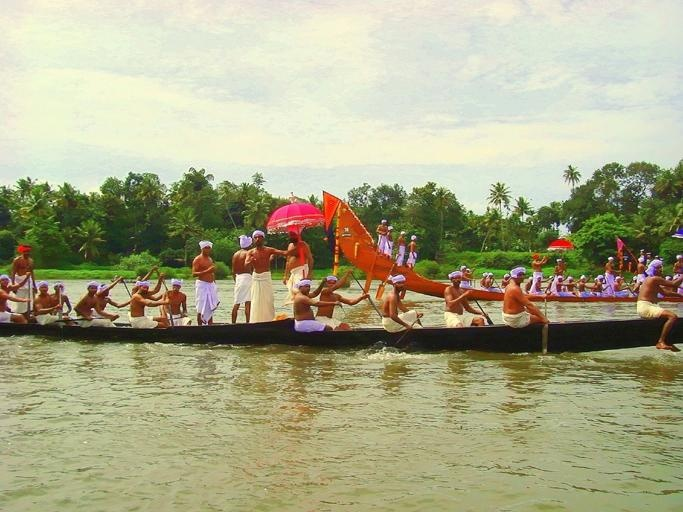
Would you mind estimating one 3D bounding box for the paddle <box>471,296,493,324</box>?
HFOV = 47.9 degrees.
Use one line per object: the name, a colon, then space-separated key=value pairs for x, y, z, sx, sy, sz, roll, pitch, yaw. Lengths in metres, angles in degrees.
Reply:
paddle: x=3.633 y=1.376 z=19.737 sx=0.187 sy=0.762 sz=0.104 roll=-42 pitch=10 yaw=6
